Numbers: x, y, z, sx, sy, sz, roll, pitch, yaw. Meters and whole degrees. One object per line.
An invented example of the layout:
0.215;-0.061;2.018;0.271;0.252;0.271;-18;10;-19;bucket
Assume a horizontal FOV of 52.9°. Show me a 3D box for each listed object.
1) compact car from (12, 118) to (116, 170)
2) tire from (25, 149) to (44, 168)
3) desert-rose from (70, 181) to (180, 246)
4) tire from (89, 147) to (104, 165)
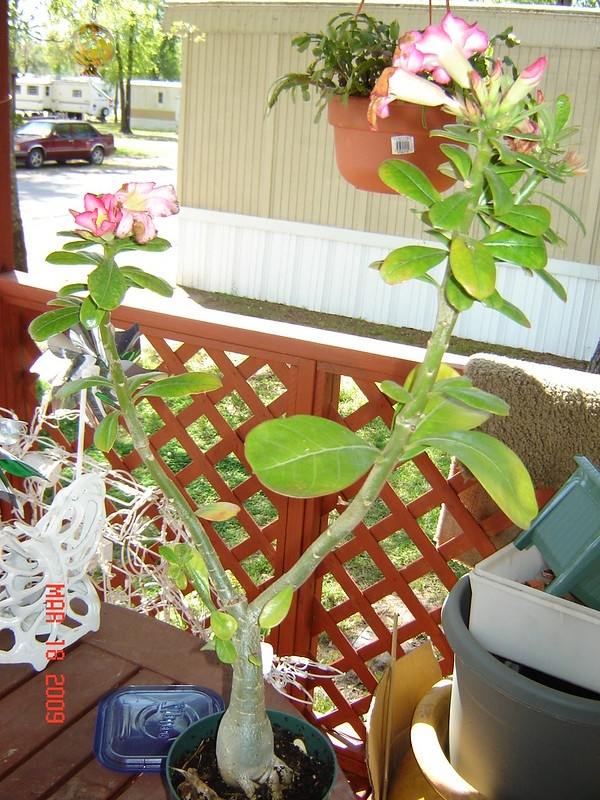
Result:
-6.791;-7.215;17.017;0.539;1.463;3.207;14;20;27;compact car
-7.255;-6.587;16.500;0.448;0.527;0.439;-4;19;-25;tire
-0.155;-0.168;0.541;0.053;0.057;0.119;15;20;29;desert-rose
-6.124;-7.326;18.061;0.501;0.465;0.172;-5;39;-47;tire
